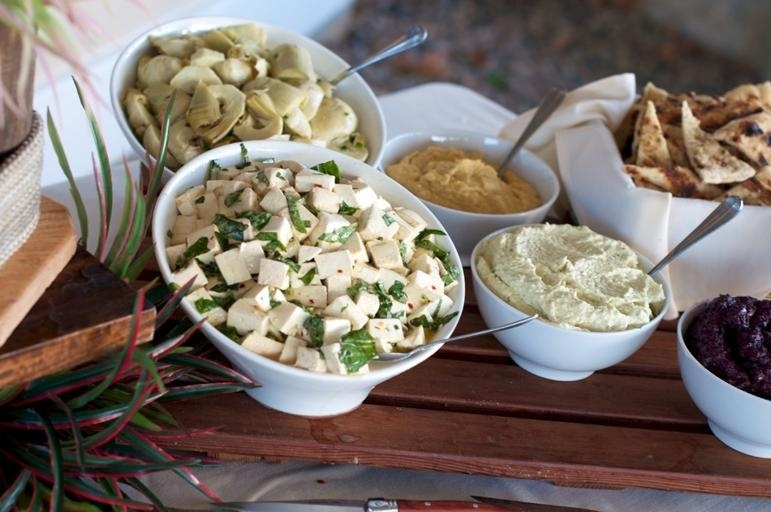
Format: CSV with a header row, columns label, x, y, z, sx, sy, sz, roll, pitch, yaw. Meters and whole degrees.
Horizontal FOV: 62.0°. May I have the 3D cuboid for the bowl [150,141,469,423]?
label,x,y,z,sx,sy,sz,roll,pitch,yaw
bowl,-0.114,0.130,0.996,0.372,0.158,0.354,7,18,-2

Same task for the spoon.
label,x,y,z,sx,sy,sz,roll,pitch,yaw
spoon,0.102,0.125,0.969,0.321,0.029,0.046,-10,34,-20

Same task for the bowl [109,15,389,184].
label,x,y,z,sx,sy,sz,roll,pitch,yaw
bowl,-0.249,-0.348,1.199,0.436,0.147,0.425,20,39,-17

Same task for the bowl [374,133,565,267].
label,x,y,z,sx,sy,sz,roll,pitch,yaw
bowl,0.167,-0.105,1.339,0.334,0.134,0.304,12,34,-8
